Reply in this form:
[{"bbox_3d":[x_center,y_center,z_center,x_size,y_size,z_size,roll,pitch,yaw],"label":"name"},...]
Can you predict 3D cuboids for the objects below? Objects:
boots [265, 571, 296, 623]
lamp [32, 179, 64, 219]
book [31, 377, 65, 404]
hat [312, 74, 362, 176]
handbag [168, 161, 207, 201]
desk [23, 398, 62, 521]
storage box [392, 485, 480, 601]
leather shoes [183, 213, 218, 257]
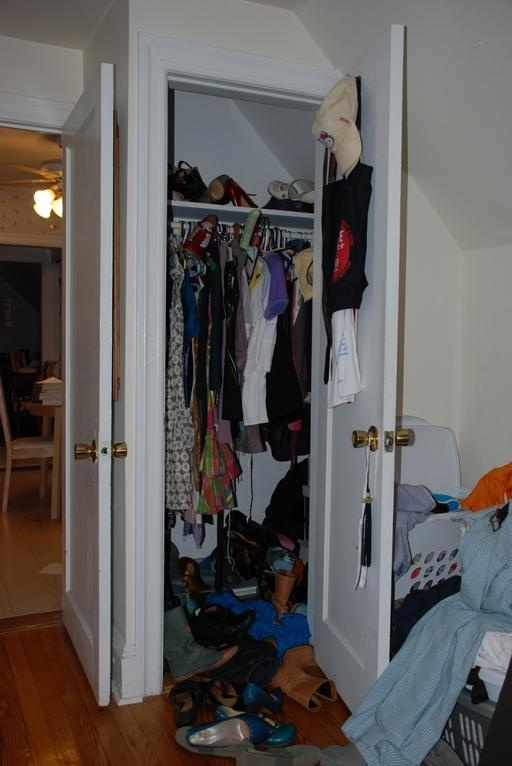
[{"bbox_3d":[0.105,0.871,2.379,0.088,0.317,0.080,5,-5,19],"label":"boots"},{"bbox_3d":[-1.424,-1.279,4.066,0.171,0.261,0.300,1,3,-16],"label":"lamp"},{"bbox_3d":[-1.461,0.061,4.144,0.227,0.109,0.221,1,2,6],"label":"book"},{"bbox_3d":[0.218,-0.696,1.584,0.123,0.279,0.098,2,2,6],"label":"hat"},{"bbox_3d":[-0.288,-0.856,2.516,0.085,0.152,0.307,-2,15,3],"label":"handbag"},{"bbox_3d":[-1.502,0.508,4.204,0.220,0.834,0.489,1,2,-22],"label":"desk"},{"bbox_3d":[0.550,0.540,1.899,0.234,0.263,0.325,22,-27,-37],"label":"storage box"},{"bbox_3d":[-0.210,-0.556,2.304,0.070,0.220,0.075,28,-30,-13],"label":"leather shoes"}]
